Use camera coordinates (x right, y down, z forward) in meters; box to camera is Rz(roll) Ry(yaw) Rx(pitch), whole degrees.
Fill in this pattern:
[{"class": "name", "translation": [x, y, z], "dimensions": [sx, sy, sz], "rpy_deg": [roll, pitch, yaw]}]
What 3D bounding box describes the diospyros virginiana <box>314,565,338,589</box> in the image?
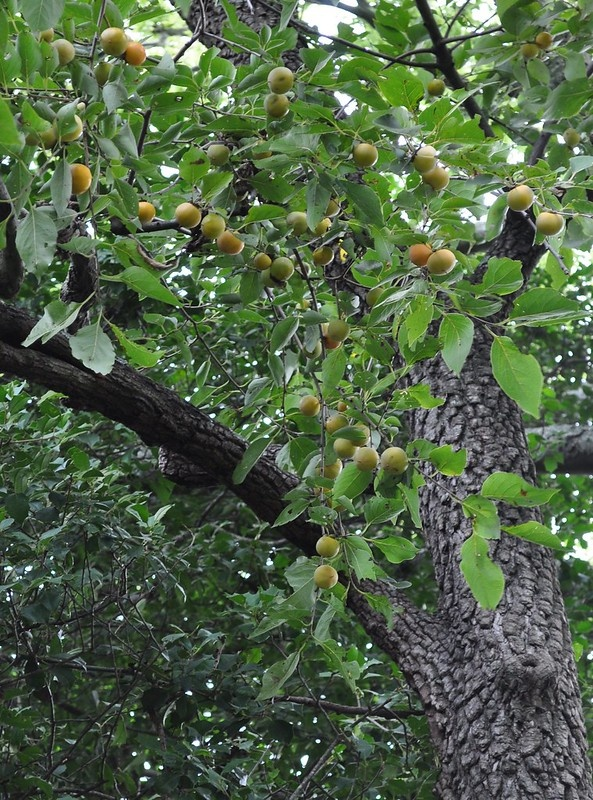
[{"class": "diospyros virginiana", "translation": [0.067, 0.433, 2.951], "dimensions": [0.048, 0.047, 0.061], "rpy_deg": [50, -30, -16]}]
